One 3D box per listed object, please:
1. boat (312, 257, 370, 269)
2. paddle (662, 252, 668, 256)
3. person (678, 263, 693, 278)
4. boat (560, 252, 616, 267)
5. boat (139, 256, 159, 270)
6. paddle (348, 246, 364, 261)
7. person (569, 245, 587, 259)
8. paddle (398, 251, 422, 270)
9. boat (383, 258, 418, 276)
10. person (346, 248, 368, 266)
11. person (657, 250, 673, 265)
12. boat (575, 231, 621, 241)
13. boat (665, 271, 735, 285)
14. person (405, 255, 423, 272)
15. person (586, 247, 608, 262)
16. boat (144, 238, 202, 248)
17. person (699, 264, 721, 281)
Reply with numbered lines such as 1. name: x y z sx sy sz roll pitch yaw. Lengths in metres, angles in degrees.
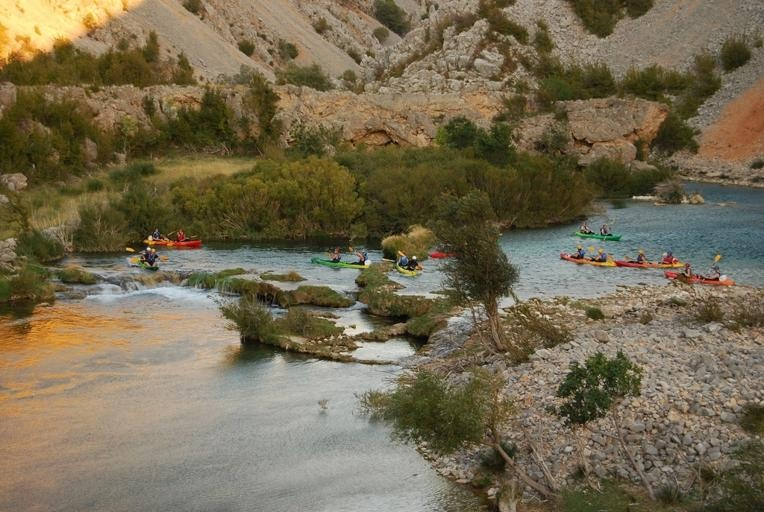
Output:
1. boat: -3.210 0.603 48.723 4.746 0.723 1.672 0 4 21
2. paddle: 21.956 -0.137 48.954 0.444 0.277 0.571 -1 3 35
3. person: 20.690 1.031 42.978 0.847 1.361 0.868 12 -1 19
4. boat: 15.562 0.419 47.936 3.969 0.726 1.295 19 16 39
5. boat: -16.821 0.555 45.703 1.322 0.881 2.039 -4 5 -21
6. paddle: -2.112 -0.146 52.503 1.704 0.578 0.540 34 -14 29
7. person: 15.400 -0.354 49.208 0.895 1.165 2.023 3 18 5
8. paddle: 1.969 0.423 45.926 0.827 0.873 2.264 -9 21 -26
9. boat: 1.433 0.813 46.041 0.899 0.559 2.979 -1 7 -22
10. person: -1.835 0.161 50.506 0.931 1.193 2.695 -2 1 -44
11. person: 21.371 0.154 47.578 0.496 1.031 0.824 7 17 -31
12. boat: 19.858 -1.801 57.895 1.257 0.756 4.130 -7 8 -39
13. boat: 20.712 1.574 41.115 4.405 0.790 1.346 9 8 31
14. person: 2.306 0.584 45.283 0.846 1.049 1.159 1 5 29
15. person: 16.490 -0.013 47.965 1.009 0.565 1.397 4 9 3
16. boat: -18.207 -1.046 55.364 5.516 0.963 1.663 0 10 -3
17. person: 21.653 1.194 40.795 1.808 1.081 1.010 -1 19 13
